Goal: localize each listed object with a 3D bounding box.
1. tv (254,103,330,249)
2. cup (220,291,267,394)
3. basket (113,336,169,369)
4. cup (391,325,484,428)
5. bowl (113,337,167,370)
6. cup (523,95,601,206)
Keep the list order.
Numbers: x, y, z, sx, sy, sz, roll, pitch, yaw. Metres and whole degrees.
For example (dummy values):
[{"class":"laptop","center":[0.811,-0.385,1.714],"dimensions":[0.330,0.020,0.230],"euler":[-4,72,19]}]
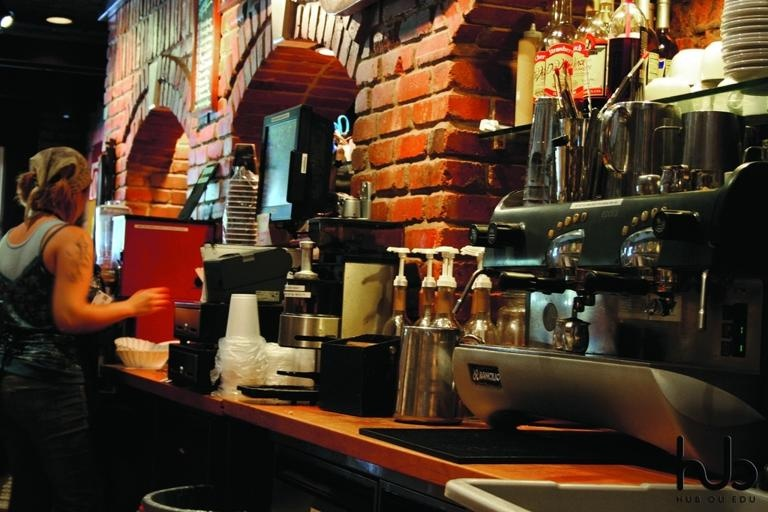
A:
[{"class":"tv","center":[-0.364,-0.354,2.979],"dimensions":[0.289,0.537,0.454],"euler":[3,-3,-16]},{"class":"cup","center":[-0.460,0.289,2.275],"dimensions":[0.199,0.324,0.115],"euler":[2,-3,12]},{"class":"basket","center":[-1.025,0.414,2.972],"dimensions":[0.165,0.074,0.200],"euler":[12,-3,-23]},{"class":"cup","center":[0.122,0.311,1.842],"dimensions":[0.264,0.239,0.185],"euler":[1,1,5]},{"class":"bowl","center":[-1.026,0.417,2.968],"dimensions":[0.150,0.067,0.182],"euler":[12,-2,-21]},{"class":"cup","center":[0.440,-0.269,1.716],"dimensions":[0.176,0.286,0.109],"euler":[1,-3,24]}]
